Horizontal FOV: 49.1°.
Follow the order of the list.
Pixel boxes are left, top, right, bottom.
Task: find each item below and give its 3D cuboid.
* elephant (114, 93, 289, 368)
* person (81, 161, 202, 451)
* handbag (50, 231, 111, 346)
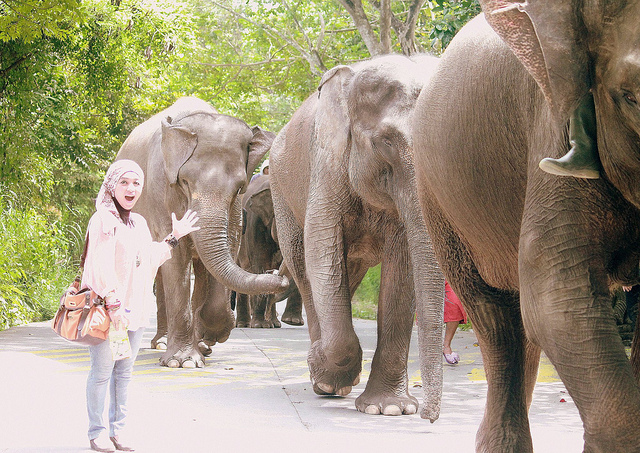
[{"bbox_3d":[-1.297,0.131,8.095,1.470,2.766,4.880,1,4,-14],"label":"elephant"},{"bbox_3d":[-1.199,0.503,4.575,0.604,1.646,1.495,5,-7,-11],"label":"person"},{"bbox_3d":[-1.324,0.464,3.892,0.321,0.380,0.166,5,-7,-15],"label":"handbag"}]
